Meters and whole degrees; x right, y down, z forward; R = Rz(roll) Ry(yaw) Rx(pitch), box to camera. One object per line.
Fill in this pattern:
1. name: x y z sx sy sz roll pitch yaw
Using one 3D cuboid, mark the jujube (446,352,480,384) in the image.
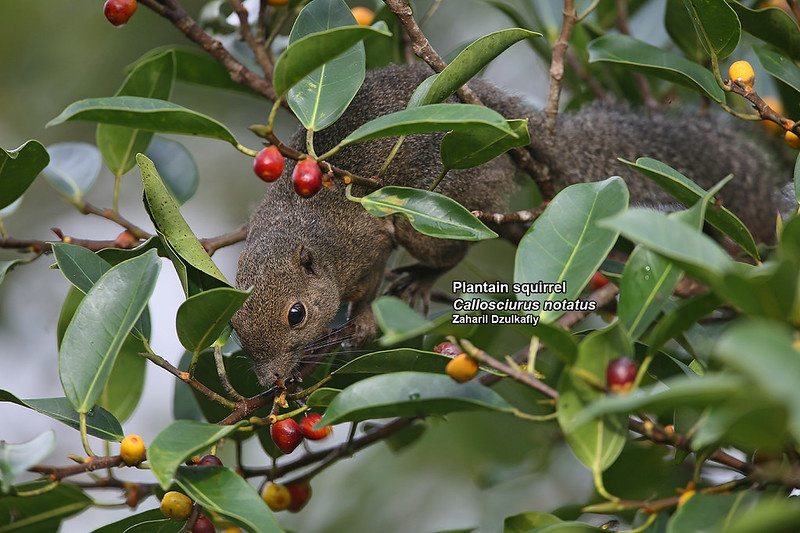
1. jujube: 0.229 0.368 3.451 0.110 0.089 0.092 -4 57 -8
